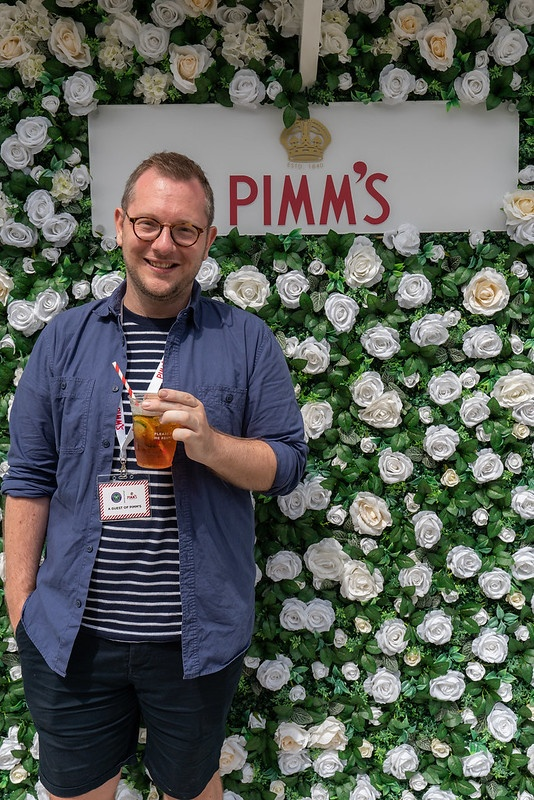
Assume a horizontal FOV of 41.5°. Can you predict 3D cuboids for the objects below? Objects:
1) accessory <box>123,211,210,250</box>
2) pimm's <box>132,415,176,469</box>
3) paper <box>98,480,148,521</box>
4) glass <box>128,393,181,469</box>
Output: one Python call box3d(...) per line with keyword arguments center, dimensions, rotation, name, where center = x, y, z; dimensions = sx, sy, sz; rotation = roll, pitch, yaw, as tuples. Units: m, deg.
box3d(center=(-0.267, -0.445, 1.854), dimensions=(0.185, 0.086, 0.066), rotation=(-2, 5, -9), name="accessory")
box3d(center=(-0.280, 0.096, 1.738), dimensions=(0.108, 0.142, 0.098), rotation=(-3, -5, 7), name="pimm's")
box3d(center=(-0.367, 0.257, 1.816), dimensions=(0.118, 0.086, 0.012), rotation=(-2, 2, 1), name="paper")
box3d(center=(-0.275, 0.078, 1.706), dimensions=(0.097, 0.191, 0.113), rotation=(-3, 5, -10), name="glass")
